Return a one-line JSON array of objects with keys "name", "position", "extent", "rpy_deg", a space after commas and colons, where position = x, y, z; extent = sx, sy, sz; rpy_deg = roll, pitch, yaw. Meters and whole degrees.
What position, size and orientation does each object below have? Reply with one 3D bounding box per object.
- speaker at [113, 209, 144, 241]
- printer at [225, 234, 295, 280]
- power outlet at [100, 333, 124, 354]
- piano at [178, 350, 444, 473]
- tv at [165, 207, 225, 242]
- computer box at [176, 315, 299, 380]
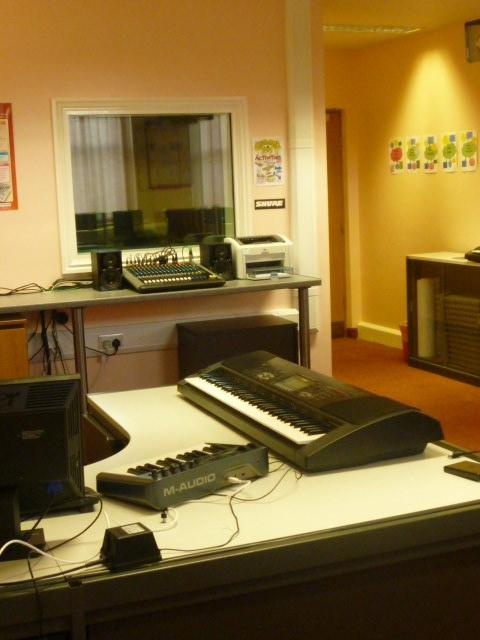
[{"name": "speaker", "position": [-0.759, -0.628, 3.805], "extent": [0.224, 0.298, 0.172], "rpy_deg": [1, 12, 4]}, {"name": "printer", "position": [0.129, -0.432, 3.758], "extent": [0.428, 0.288, 0.275], "rpy_deg": [-4, 11, -26]}, {"name": "power outlet", "position": [-0.859, 0.152, 3.783], "extent": [0.216, 0.136, 0.115], "rpy_deg": [-3, 7, -23]}, {"name": "piano", "position": [0.139, 0.173, 1.454], "extent": [0.610, 0.211, 0.699], "rpy_deg": [-4, 11, -21]}, {"name": "tv", "position": [-0.313, -0.673, 3.978], "extent": [0.470, 0.282, 0.243], "rpy_deg": [-3, 4, -25]}, {"name": "computer box", "position": [-0.033, 0.130, 3.636], "extent": [0.811, 0.383, 0.423], "rpy_deg": [-3, 11, -26]}]
